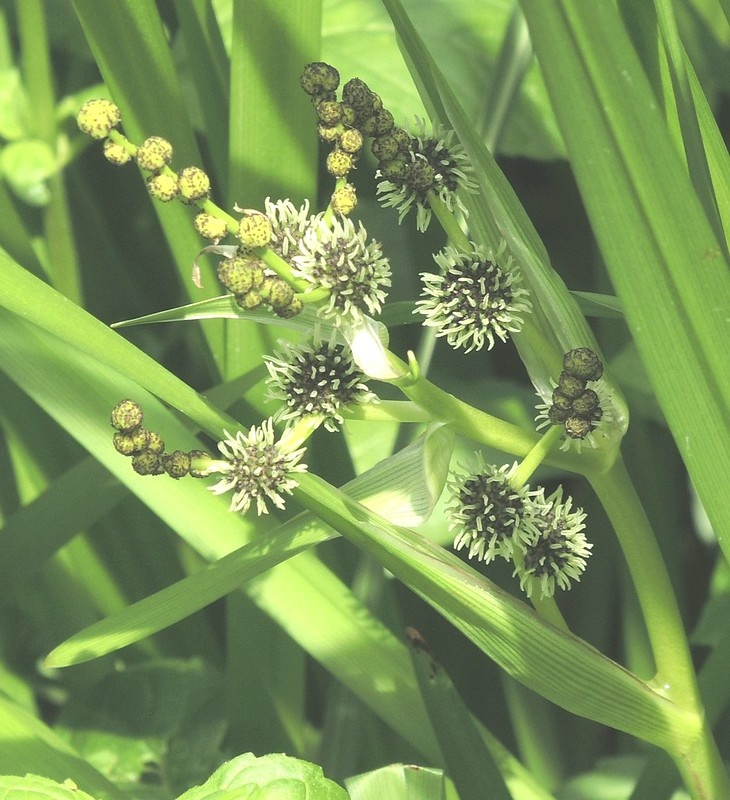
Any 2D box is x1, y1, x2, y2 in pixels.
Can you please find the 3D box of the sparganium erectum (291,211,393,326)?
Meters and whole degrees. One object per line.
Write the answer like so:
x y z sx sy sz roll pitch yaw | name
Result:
-0.015 -0.083 0.605 0.060 0.067 0.045 -9 19 -2 | sparganium erectum

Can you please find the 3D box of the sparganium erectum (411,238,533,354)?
0.071 -0.072 0.693 0.085 0.079 0.035 35 0 0 | sparganium erectum

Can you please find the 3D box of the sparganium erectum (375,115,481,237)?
0.044 -0.155 0.653 0.065 0.075 0.084 -6 18 7 | sparganium erectum

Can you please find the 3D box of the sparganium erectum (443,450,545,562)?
0.094 0.077 0.688 0.071 0.071 0.034 -24 -14 19 | sparganium erectum

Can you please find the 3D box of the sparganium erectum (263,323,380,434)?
-0.031 -0.012 0.643 0.054 0.063 0.052 -24 24 -39 | sparganium erectum
